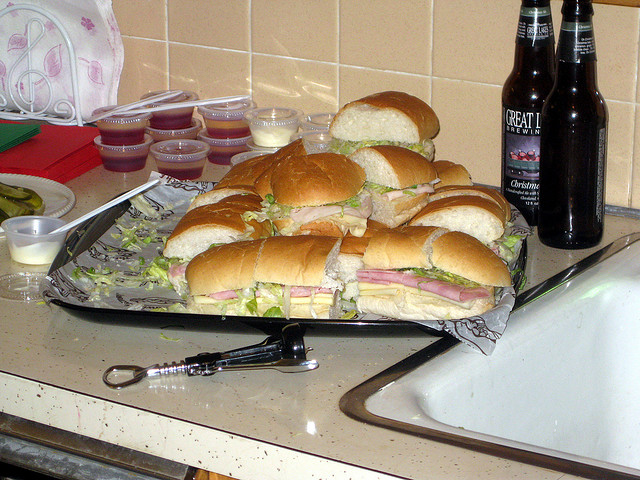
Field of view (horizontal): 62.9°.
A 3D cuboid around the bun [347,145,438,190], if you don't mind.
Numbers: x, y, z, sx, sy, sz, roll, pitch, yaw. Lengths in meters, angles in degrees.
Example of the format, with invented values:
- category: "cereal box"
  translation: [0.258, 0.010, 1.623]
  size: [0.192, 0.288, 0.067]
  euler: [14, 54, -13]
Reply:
- category: "bun"
  translation: [0.165, -0.160, 1.065]
  size: [0.146, 0.064, 0.232]
  euler: [-15, 18, -22]

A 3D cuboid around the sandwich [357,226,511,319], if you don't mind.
- category: "sandwich"
  translation: [0.198, 0.078, 0.887]
  size: [0.285, 0.099, 0.200]
  euler: [9, -3, 19]

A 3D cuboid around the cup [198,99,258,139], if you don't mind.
- category: "cup"
  translation: [-0.310, -0.367, 1.662]
  size: [0.192, 0.066, 0.163]
  euler: [2, 11, 16]

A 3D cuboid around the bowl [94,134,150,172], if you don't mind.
- category: "bowl"
  translation: [-0.596, -0.253, 1.582]
  size: [0.181, 0.066, 0.154]
  euler: [-6, 12, -19]

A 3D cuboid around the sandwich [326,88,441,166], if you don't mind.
- category: "sandwich"
  translation: [0.143, -0.241, 1.198]
  size: [0.289, 0.149, 0.196]
  euler: [5, 23, 17]

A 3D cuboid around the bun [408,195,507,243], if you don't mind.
- category: "bun"
  translation: [0.263, -0.040, 0.955]
  size: [0.208, 0.052, 0.094]
  euler: [7, 39, 18]

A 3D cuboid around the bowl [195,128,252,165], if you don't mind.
- category: "bowl"
  translation: [-0.323, -0.282, 1.658]
  size: [0.155, 0.051, 0.126]
  euler: [6, 2, 6]

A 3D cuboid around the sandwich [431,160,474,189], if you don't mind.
- category: "sandwich"
  translation: [0.276, -0.141, 1.112]
  size: [0.082, 0.030, 0.122]
  euler: [4, 18, 9]

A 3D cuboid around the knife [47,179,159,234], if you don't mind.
- category: "knife"
  translation: [-0.518, -0.076, 1.239]
  size: [0.355, 0.024, 0.032]
  euler: [-23, 7, -17]

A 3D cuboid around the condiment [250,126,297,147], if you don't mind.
- category: "condiment"
  translation: [-0.129, -0.297, 1.495]
  size: [0.147, 0.036, 0.118]
  euler: [-3, 20, -8]

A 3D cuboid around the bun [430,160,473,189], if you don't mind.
- category: "bun"
  translation: [0.282, -0.149, 1.117]
  size: [0.094, 0.025, 0.075]
  euler: [2, 21, 0]

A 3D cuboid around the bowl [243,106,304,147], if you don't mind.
- category: "bowl"
  translation: [-0.143, -0.334, 1.564]
  size: [0.184, 0.069, 0.179]
  euler: [-1, 25, 0]

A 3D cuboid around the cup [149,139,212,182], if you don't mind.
- category: "cup"
  translation: [-0.397, -0.234, 1.490]
  size: [0.197, 0.078, 0.159]
  euler: [0, 17, 0]

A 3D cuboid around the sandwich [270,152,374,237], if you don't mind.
- category: "sandwich"
  translation: [0.017, -0.076, 0.983]
  size: [0.211, 0.087, 0.169]
  euler: [-5, 26, -1]

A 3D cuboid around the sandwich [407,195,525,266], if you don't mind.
- category: "sandwich"
  translation: [0.270, -0.035, 0.956]
  size: [0.300, 0.071, 0.126]
  euler: [6, 38, 7]

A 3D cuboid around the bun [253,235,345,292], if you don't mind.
- category: "bun"
  translation: [-0.029, 0.039, 0.862]
  size: [0.142, 0.084, 0.110]
  euler: [3, 11, 6]

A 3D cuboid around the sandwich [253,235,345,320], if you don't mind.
- category: "sandwich"
  translation: [-0.020, 0.061, 0.879]
  size: [0.157, 0.068, 0.146]
  euler: [2, 16, 33]

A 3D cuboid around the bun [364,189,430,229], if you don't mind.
- category: "bun"
  translation: [0.152, -0.062, 1.008]
  size: [0.119, 0.025, 0.072]
  euler: [-5, 19, 10]

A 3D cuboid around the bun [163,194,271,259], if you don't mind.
- category: "bun"
  translation: [-0.168, -0.011, 1.012]
  size: [0.267, 0.063, 0.122]
  euler: [1, 13, 25]

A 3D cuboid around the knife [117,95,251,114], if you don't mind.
- category: "knife"
  translation: [-0.387, -0.370, 1.437]
  size: [0.370, 0.053, 0.226]
  euler: [1, 10, -3]

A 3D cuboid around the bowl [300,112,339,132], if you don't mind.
- category: "bowl"
  translation: [-0.007, -0.330, 1.453]
  size: [0.131, 0.032, 0.116]
  euler: [-15, 25, -25]

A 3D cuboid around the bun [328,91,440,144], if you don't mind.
- category: "bun"
  translation: [0.146, -0.262, 1.149]
  size: [0.250, 0.057, 0.228]
  euler: [-8, 22, -19]

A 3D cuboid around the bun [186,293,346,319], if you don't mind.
- category: "bun"
  translation: [-0.088, 0.111, 0.862]
  size: [0.167, 0.022, 0.084]
  euler: [1, 14, 4]

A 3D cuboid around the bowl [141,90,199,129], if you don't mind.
- category: "bowl"
  translation: [-0.458, -0.412, 1.671]
  size: [0.181, 0.065, 0.153]
  euler: [-10, 22, -20]

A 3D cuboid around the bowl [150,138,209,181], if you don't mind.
- category: "bowl"
  translation: [-0.394, -0.233, 1.549]
  size: [0.185, 0.070, 0.159]
  euler: [11, 27, 21]

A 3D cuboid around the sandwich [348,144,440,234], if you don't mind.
- category: "sandwich"
  translation: [0.122, -0.083, 1.063]
  size: [0.152, 0.179, 0.187]
  euler: [20, -22, -15]

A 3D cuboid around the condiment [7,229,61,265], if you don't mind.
- category: "condiment"
  translation: [-0.594, 0.002, 1.077]
  size: [0.102, 0.034, 0.101]
  euler: [16, 20, 39]

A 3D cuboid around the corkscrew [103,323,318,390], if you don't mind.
- category: "corkscrew"
  translation: [-0.143, 0.170, 0.797]
  size: [0.338, 0.046, 0.092]
  euler: [-4, 14, -9]
